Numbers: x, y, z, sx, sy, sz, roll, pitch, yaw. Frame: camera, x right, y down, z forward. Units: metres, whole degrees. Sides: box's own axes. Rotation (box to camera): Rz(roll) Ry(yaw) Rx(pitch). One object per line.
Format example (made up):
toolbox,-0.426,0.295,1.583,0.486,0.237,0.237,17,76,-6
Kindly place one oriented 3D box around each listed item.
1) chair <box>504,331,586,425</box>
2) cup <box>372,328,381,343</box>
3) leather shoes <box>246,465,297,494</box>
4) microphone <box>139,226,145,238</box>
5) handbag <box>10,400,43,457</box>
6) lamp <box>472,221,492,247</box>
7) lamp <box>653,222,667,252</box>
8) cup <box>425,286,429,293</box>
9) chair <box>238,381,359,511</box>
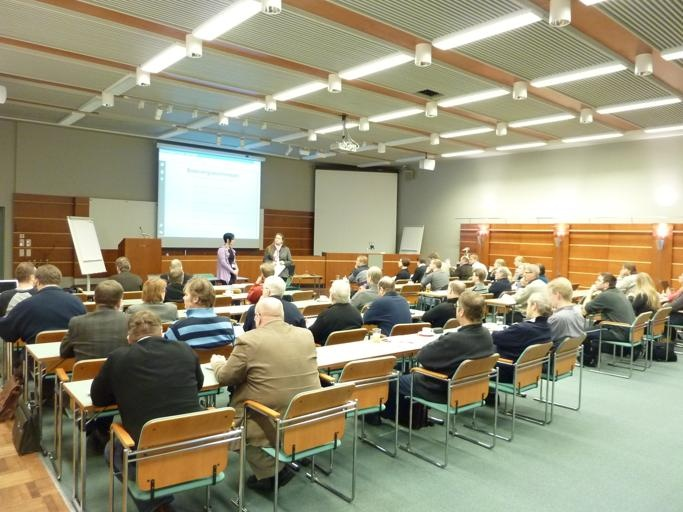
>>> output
chair,2.277,1.388,6.095,0.469,0.586,1.007,4,-22,-34
cup,0.379,0.918,6.070,0.133,0.140,0.126,0,2,0
leather shoes,-0.688,2.045,4.867,0.499,0.185,0.182,-6,-7,32
microphone,-5.174,-0.635,13.899,0.144,0.284,0.326,-3,4,-22
handbag,-3.051,1.706,5.190,0.250,0.446,0.558,4,-4,-35
lamp,4.025,-0.597,15.404,0.242,0.672,0.550,-5,5,-38
lamp,7.210,-0.428,12.028,0.293,0.605,0.083,2,5,43
cup,1.719,0.682,10.772,0.098,0.142,0.088,3,-5,-23
chair,-0.288,1.622,4.598,0.651,1.105,0.873,2,5,45
